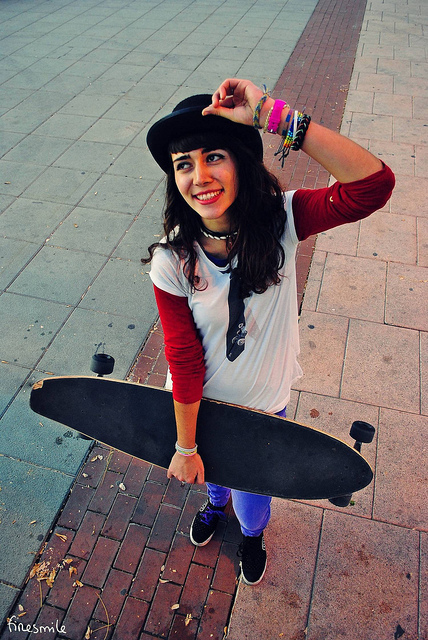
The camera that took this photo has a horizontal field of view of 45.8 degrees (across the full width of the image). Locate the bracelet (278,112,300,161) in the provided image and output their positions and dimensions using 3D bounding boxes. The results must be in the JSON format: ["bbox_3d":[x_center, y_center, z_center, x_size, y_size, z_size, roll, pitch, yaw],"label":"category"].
[{"bbox_3d":[0.255,-0.620,1.739,0.028,0.196,0.020,-15,39,-39],"label":"bracelet"}]

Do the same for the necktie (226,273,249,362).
[{"bbox_3d":[0.088,-0.010,1.910,0.068,0.310,0.047,9,23,5],"label":"necktie"}]

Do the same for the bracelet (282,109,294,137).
[{"bbox_3d":[0.246,-0.665,1.702,0.018,0.070,0.072,14,43,10],"label":"bracelet"}]

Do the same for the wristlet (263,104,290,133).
[{"bbox_3d":[0.211,-0.679,1.696,0.047,0.075,0.076,49,36,14],"label":"wristlet"}]

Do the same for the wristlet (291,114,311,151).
[{"bbox_3d":[0.292,-0.624,1.706,0.037,0.091,0.115,23,78,7],"label":"wristlet"}]

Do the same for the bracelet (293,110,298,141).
[{"bbox_3d":[0.273,-0.660,1.692,0.015,0.066,0.063,8,11,4],"label":"bracelet"}]
